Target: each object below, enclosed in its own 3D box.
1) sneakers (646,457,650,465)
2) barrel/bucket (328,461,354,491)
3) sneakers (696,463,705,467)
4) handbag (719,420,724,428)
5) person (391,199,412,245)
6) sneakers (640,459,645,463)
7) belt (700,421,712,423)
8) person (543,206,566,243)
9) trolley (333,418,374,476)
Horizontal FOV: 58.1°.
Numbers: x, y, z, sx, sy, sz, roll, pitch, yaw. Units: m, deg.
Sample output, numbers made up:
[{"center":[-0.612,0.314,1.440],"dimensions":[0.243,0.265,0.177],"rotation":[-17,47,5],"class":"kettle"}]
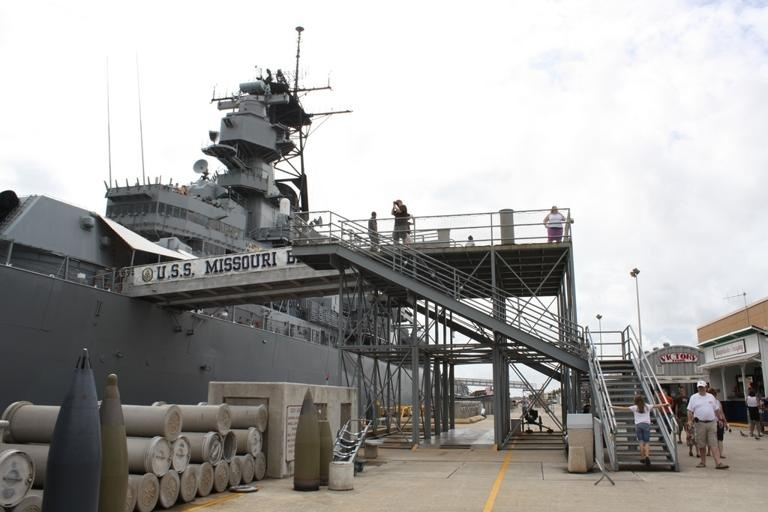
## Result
[{"center":[8.068,6.248,21.223],"dimensions":[0.148,0.181,0.289],"rotation":[-8,-16,22],"class":"sneakers"},{"center":[-1.189,6.141,19.544],"dimensions":[0.669,0.684,0.665],"rotation":[2,-13,1],"class":"barrel/bucket"},{"center":[9.897,6.466,21.580],"dimensions":[0.278,0.117,0.100],"rotation":[10,-15,-35],"class":"sneakers"},{"center":[10.691,5.308,22.020],"dimensions":[0.208,0.300,0.088],"rotation":[23,-15,-30],"class":"handbag"},{"center":[0.699,-1.378,28.472],"dimensions":[0.739,1.990,0.831],"rotation":[-2,-14,1],"class":"person"},{"center":[7.944,6.275,21.314],"dimensions":[0.090,0.136,0.291],"rotation":[-4,-16,11],"class":"sneakers"},{"center":[10.047,5.136,21.677],"dimensions":[0.361,0.082,0.079],"rotation":[-5,-15,10],"class":"belt"},{"center":[6.637,-1.246,26.881],"dimensions":[0.820,1.522,1.130],"rotation":[-5,-15,13],"class":"person"},{"center":[-1.026,5.896,22.203],"dimensions":[0.740,1.241,2.430],"rotation":[0,-7,17],"class":"trolley"}]
